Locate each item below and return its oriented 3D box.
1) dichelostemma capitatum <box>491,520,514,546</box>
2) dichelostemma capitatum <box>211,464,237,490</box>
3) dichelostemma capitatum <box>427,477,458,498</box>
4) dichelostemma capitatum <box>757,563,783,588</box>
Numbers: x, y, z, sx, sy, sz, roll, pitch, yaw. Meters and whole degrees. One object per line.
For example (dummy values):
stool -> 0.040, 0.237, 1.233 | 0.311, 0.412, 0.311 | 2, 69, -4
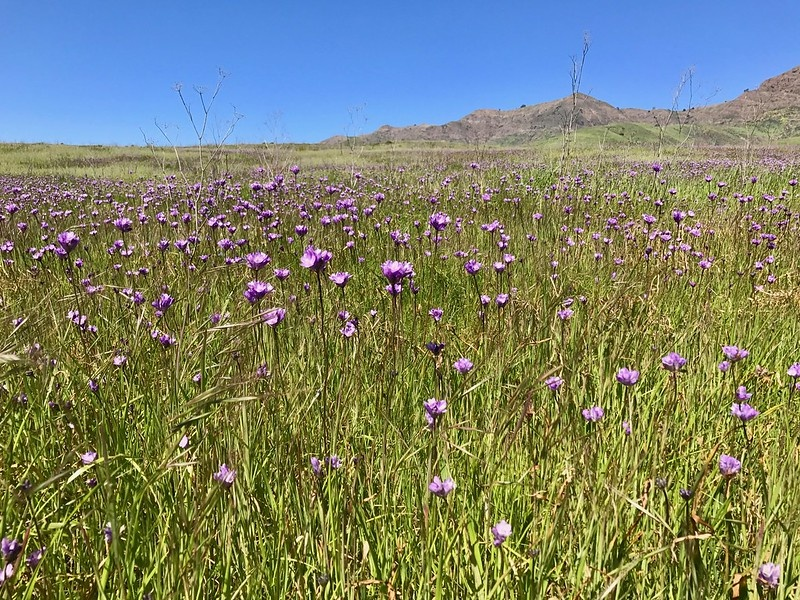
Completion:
dichelostemma capitatum -> 0.407, 0.914, 2.145 | 0.077, 0.056, 0.081 | -11, 4, 4
dichelostemma capitatum -> -0.725, 0.718, 2.227 | 0.095, 0.074, 0.106 | -5, 4, -13
dichelostemma capitatum -> 0.166, 0.716, 2.155 | 0.086, 0.068, 0.095 | -4, -3, -14
dichelostemma capitatum -> 1.416, 1.049, 2.063 | 0.083, 0.063, 0.096 | -2, -6, 7
